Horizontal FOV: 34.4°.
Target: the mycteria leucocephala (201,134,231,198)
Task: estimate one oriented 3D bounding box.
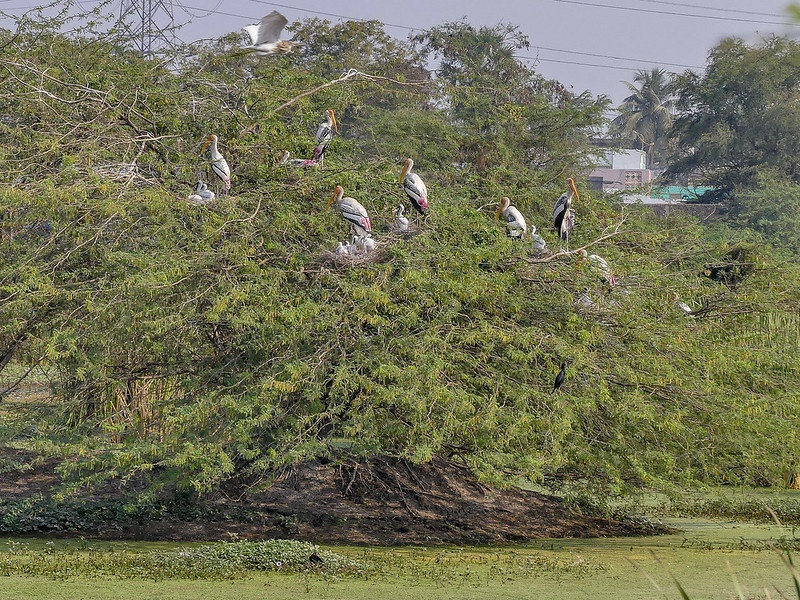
[{"bbox_3d":[-3.678,-2.776,26.205,0.509,1.197,1.049,0,6,-13],"label":"mycteria leucocephala"}]

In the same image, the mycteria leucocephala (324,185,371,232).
[{"bbox_3d":[-0.961,-1.789,25.424,1.085,0.723,0.376,25,20,19],"label":"mycteria leucocephala"}]

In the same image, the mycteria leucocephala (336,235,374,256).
[{"bbox_3d":[-0.817,-1.042,24.884,0.578,0.267,0.431,-6,7,6],"label":"mycteria leucocephala"}]

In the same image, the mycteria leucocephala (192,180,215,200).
[{"bbox_3d":[-3.863,-2.182,25.604,0.408,0.386,0.764,1,6,-10],"label":"mycteria leucocephala"}]

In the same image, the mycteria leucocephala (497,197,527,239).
[{"bbox_3d":[2.311,-1.813,27.082,0.677,0.831,0.284,11,30,21],"label":"mycteria leucocephala"}]

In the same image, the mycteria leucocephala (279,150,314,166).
[{"bbox_3d":[-2.175,-2.966,26.894,0.524,0.333,0.205,9,-36,3],"label":"mycteria leucocephala"}]

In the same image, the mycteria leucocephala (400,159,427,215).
[{"bbox_3d":[0.296,-2.355,26.687,0.581,1.156,1.267,2,6,0],"label":"mycteria leucocephala"}]

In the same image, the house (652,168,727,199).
[{"bbox_3d":[14.065,-5.728,63.151,3.784,1.368,3.565,7,11,44],"label":"house"}]

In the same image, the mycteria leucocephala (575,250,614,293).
[{"bbox_3d":[3.849,-0.607,25.565,0.794,0.833,0.810,3,6,7],"label":"mycteria leucocephala"}]
